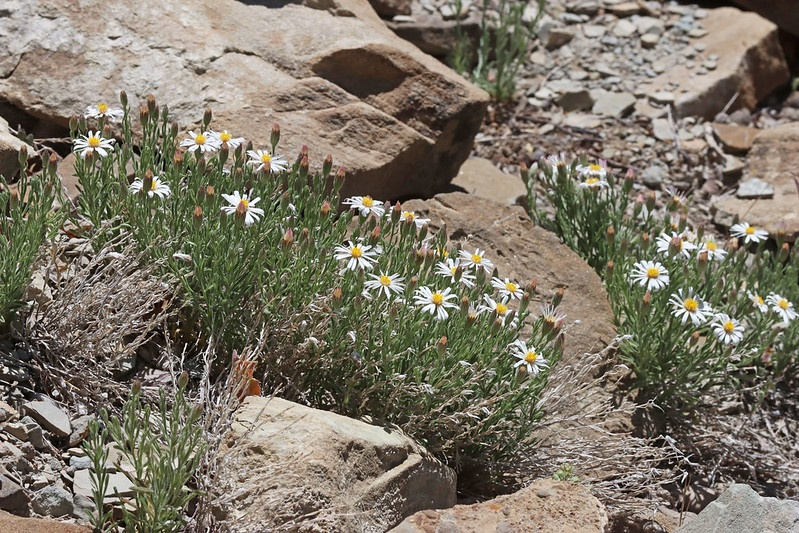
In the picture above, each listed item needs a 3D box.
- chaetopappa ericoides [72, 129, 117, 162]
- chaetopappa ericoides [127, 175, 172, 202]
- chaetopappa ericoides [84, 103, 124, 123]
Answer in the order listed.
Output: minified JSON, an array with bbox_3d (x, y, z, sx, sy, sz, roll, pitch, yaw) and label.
[{"bbox_3d":[-2.168,-0.786,9.255,0.228,0.102,0.246,24,44,16],"label":"chaetopappa ericoides"},{"bbox_3d":[-1.735,-0.549,9.150,0.193,0.063,0.202,29,45,23],"label":"chaetopappa ericoides"},{"bbox_3d":[-2.219,-1.151,9.848,0.221,0.112,0.227,3,5,39],"label":"chaetopappa ericoides"}]
